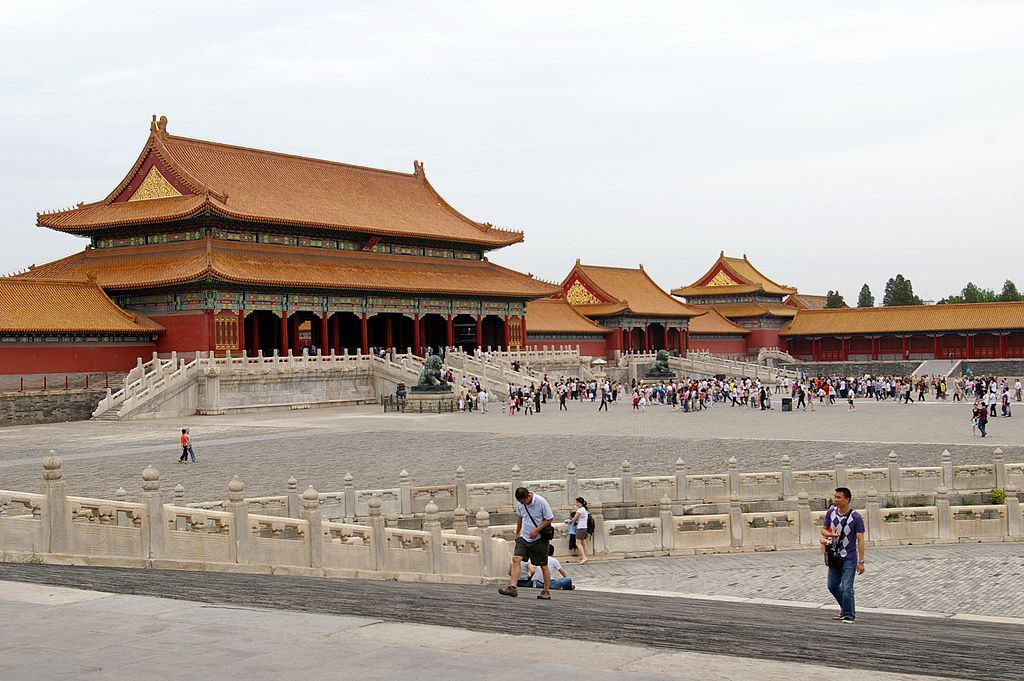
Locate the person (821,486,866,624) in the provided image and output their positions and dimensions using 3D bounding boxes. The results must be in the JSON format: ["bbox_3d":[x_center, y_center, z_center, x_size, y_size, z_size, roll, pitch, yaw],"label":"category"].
[{"bbox_3d":[7.281,4.699,38.333,0.874,2.899,1.383,-4,-8,11],"label":"person"}]

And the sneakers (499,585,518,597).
[{"bbox_3d":[-0.096,5.677,39.665,0.469,0.167,0.193,3,3,10],"label":"sneakers"}]

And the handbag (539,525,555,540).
[{"bbox_3d":[0.797,4.381,39.873,0.240,0.340,0.591,-4,-7,16],"label":"handbag"}]

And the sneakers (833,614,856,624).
[{"bbox_3d":[7.195,6.056,38.002,0.496,0.162,0.184,3,-3,41],"label":"sneakers"}]

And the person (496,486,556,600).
[{"bbox_3d":[0.335,4.600,39.901,1.127,2.538,1.311,-2,-8,-1],"label":"person"}]

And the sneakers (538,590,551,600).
[{"bbox_3d":[0.713,5.742,39.393,0.308,0.155,0.163,3,-10,7],"label":"sneakers"}]
